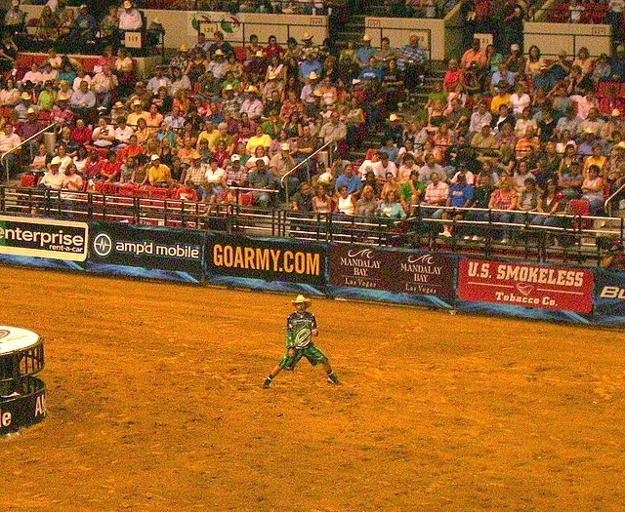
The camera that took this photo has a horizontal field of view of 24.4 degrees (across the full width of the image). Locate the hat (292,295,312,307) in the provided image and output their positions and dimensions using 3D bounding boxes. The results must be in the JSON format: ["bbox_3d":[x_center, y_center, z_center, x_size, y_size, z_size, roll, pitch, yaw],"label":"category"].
[{"bbox_3d":[-0.255,0.930,31.169,0.354,0.254,0.631,1,4,-1],"label":"hat"}]

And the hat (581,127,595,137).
[{"bbox_3d":[7.204,-3.249,37.604,0.310,0.197,0.494,5,5,40],"label":"hat"}]

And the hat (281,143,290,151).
[{"bbox_3d":[-0.773,-3.024,39.738,0.211,0.064,0.210,-11,20,-26],"label":"hat"}]
